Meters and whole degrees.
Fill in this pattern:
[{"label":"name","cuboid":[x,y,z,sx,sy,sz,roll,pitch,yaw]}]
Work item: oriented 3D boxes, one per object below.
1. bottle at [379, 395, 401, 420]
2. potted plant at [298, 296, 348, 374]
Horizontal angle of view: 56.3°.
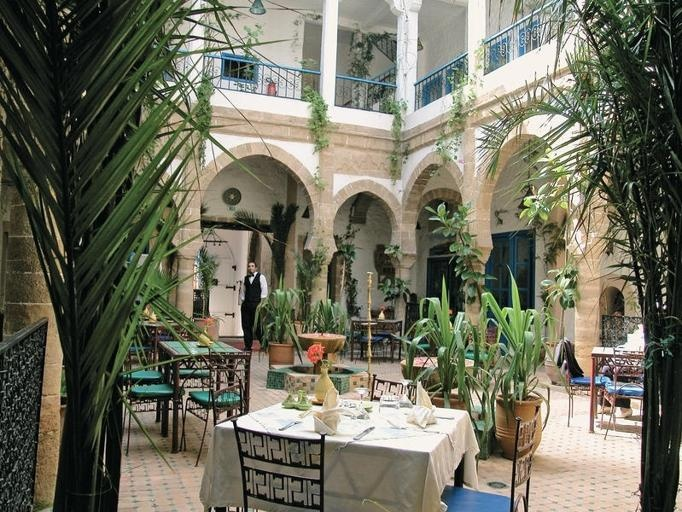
[{"label":"bottle","cuboid":[0.332,0.996,4.262,0.097,0.113,0.099,6,-15,-30]},{"label":"potted plant","cuboid":[-0.207,1.138,9.835,0.835,1.553,0.857,4,-5,-32]}]
